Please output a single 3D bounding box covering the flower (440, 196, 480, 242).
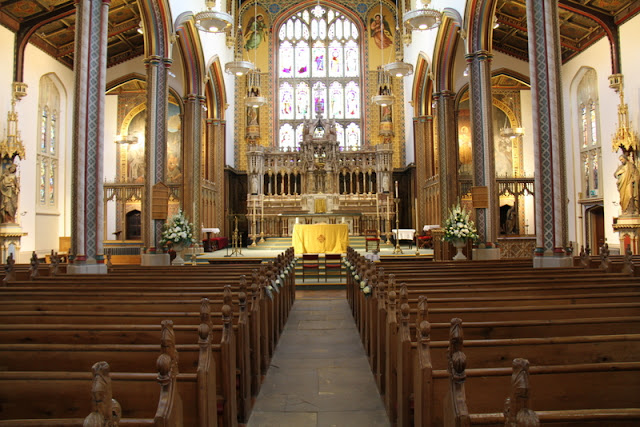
[{"bbox_3d":[3.868,0.185,18.907,1.086,1.253,1.215,-3,-2,6],"label":"flower"}]

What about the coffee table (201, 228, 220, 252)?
[{"bbox_3d":[-4.019,0.988,26.104,0.862,1.011,1.024,-1,-4,2],"label":"coffee table"}]

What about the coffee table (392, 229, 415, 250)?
[{"bbox_3d":[3.454,0.965,27.685,0.973,0.819,1.038,-1,-2,12],"label":"coffee table"}]

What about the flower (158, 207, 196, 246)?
[{"bbox_3d":[-4.079,0.392,19.523,0.953,1.207,0.980,-1,-2,9],"label":"flower"}]
